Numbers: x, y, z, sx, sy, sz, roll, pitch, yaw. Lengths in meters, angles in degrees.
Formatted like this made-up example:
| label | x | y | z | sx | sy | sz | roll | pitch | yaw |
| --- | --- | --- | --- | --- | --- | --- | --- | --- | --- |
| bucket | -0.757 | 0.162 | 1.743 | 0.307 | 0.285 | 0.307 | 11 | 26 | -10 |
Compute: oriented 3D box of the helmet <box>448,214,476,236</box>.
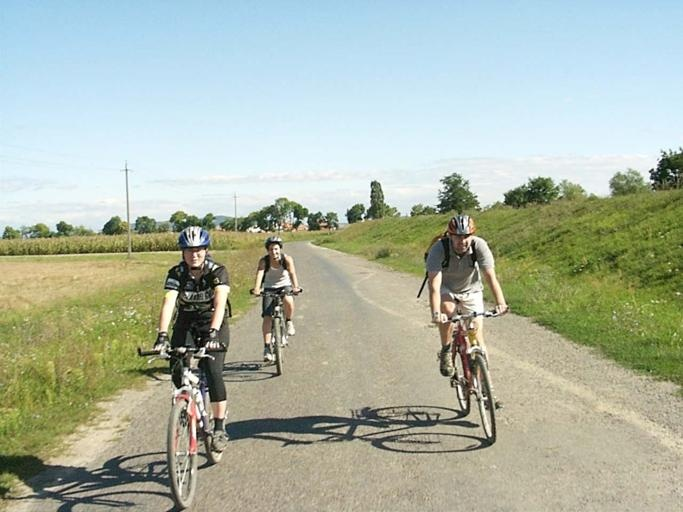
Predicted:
| label | x | y | z | sx | sy | sz | roll | pitch | yaw |
| --- | --- | --- | --- | --- | --- | --- | --- | --- | --- |
| helmet | 1.649 | -0.424 | 7.981 | 0.359 | 0.362 | 0.604 | 0 | 12 | 10 |

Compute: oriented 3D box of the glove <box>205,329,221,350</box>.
| label | x | y | z | sx | sy | sz | roll | pitch | yaw |
| --- | --- | --- | --- | --- | --- | --- | --- | --- | --- |
| glove | -1.500 | 0.984 | 6.742 | 0.094 | 0.150 | 0.332 | 0 | -13 | -4 |

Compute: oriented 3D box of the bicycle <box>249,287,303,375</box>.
| label | x | y | z | sx | sy | sz | roll | pitch | yaw |
| --- | --- | --- | --- | --- | --- | --- | --- | --- | --- |
| bicycle | -1.135 | 1.280 | 10.277 | 0.582 | 1.223 | 1.328 | -2 | 12 | 1 |

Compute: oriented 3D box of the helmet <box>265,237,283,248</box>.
| label | x | y | z | sx | sy | sz | roll | pitch | yaw |
| --- | --- | --- | --- | --- | --- | --- | --- | --- | --- |
| helmet | -1.245 | -0.252 | 10.544 | 0.297 | 0.268 | 0.490 | -4 | 12 | -11 |

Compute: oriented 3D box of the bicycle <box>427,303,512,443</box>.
| label | x | y | z | sx | sy | sz | roll | pitch | yaw |
| --- | --- | --- | --- | --- | --- | --- | --- | --- | --- |
| bicycle | 1.752 | 1.467 | 7.713 | 0.552 | 1.558 | 1.430 | -2 | 12 | -3 |

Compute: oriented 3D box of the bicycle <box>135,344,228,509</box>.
| label | x | y | z | sx | sy | sz | roll | pitch | yaw |
| --- | --- | --- | --- | --- | --- | --- | --- | --- | --- |
| bicycle | -1.791 | 1.857 | 6.700 | 0.662 | 1.629 | 1.290 | 0 | 12 | 10 |

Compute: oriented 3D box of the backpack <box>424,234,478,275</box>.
| label | x | y | z | sx | sy | sz | roll | pitch | yaw |
| --- | --- | --- | --- | --- | --- | --- | --- | --- | --- |
| backpack | 1.534 | -0.059 | 8.109 | 0.422 | 0.708 | 0.599 | 11 | -7 | -21 |

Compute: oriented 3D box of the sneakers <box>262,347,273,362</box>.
| label | x | y | z | sx | sy | sz | roll | pitch | yaw |
| --- | --- | --- | --- | --- | --- | --- | --- | --- | --- |
| sneakers | -1.257 | 1.691 | 9.950 | 0.164 | 0.284 | 0.307 | -3 | 12 | -8 |

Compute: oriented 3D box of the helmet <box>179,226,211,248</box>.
| label | x | y | z | sx | sy | sz | roll | pitch | yaw |
| --- | --- | --- | --- | --- | --- | --- | --- | --- | --- |
| helmet | -1.826 | -0.229 | 7.092 | 0.364 | 0.285 | 0.334 | -6 | 13 | -18 |

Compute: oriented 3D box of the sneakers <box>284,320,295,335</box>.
| label | x | y | z | sx | sy | sz | roll | pitch | yaw |
| --- | --- | --- | --- | --- | --- | --- | --- | --- | --- |
| sneakers | -0.960 | 1.395 | 10.899 | 0.121 | 0.177 | 0.389 | -2 | -20 | -5 |
